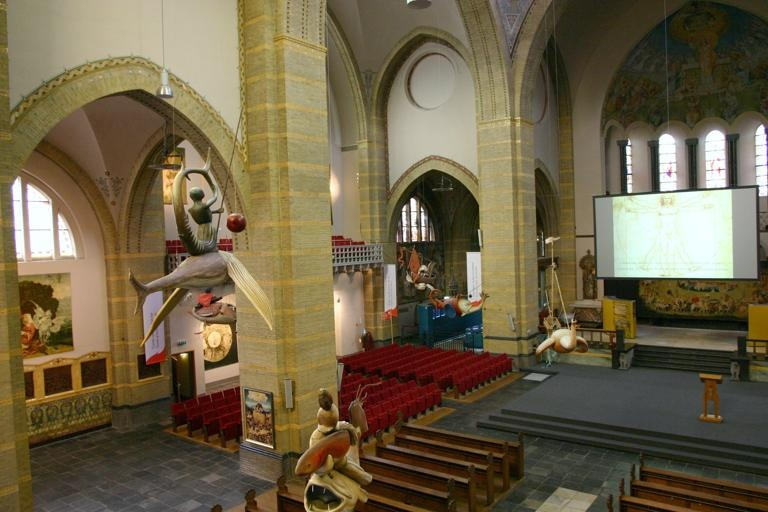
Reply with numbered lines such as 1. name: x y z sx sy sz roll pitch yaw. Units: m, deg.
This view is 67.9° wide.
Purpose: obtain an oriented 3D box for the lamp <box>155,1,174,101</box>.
1. lamp: -5.806 -5.485 14.915 0.383 2.848 0.695 -5 1 -20
